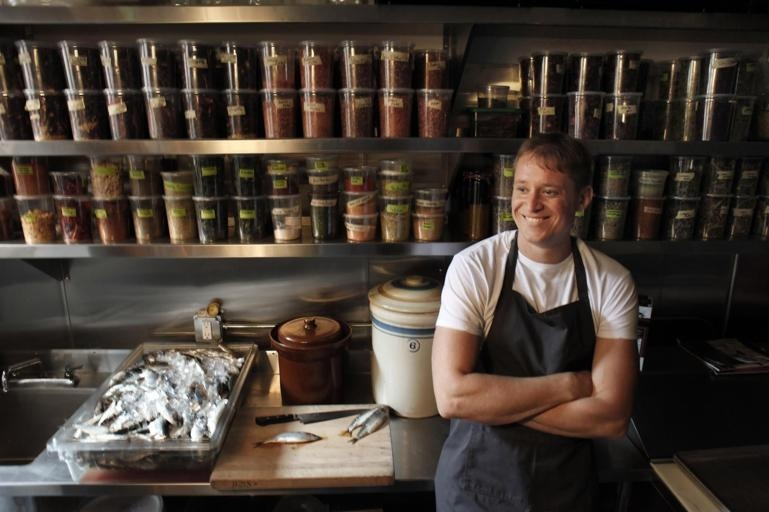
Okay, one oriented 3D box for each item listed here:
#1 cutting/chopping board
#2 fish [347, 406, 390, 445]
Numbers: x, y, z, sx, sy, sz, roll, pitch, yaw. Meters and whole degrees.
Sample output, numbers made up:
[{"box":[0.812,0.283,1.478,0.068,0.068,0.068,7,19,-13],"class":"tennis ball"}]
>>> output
[{"box":[-0.379,0.924,2.825,0.821,0.235,0.416,-2,12,-1],"class":"cutting/chopping board"},{"box":[-0.088,0.841,2.899,0.109,0.044,0.195,23,32,32],"class":"fish"}]
